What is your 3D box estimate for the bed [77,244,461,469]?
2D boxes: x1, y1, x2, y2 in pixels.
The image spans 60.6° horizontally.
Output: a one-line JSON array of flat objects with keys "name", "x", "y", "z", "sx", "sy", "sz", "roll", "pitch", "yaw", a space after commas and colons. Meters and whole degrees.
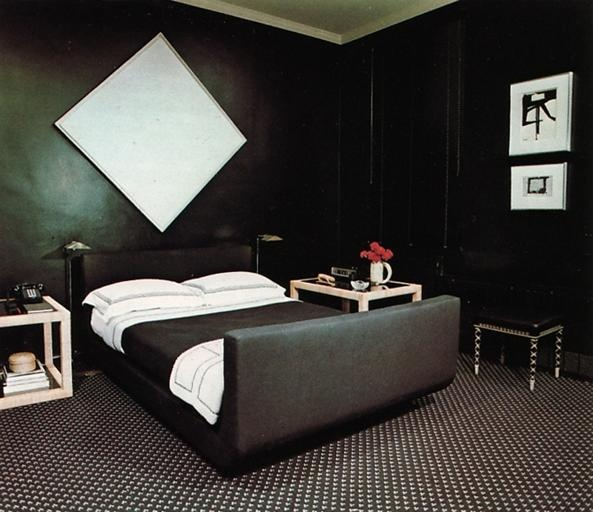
[{"name": "bed", "x": -0.092, "y": 0.642, "z": 3.653, "sx": 1.851, "sy": 0.798, "sz": 1.795, "roll": -8, "pitch": 12, "yaw": -41}]

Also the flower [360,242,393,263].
[{"name": "flower", "x": 0.806, "y": 0.015, "z": 4.964, "sx": 0.252, "sy": 0.157, "sz": 0.259, "roll": 20, "pitch": 35, "yaw": 38}]

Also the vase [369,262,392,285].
[{"name": "vase", "x": 0.809, "y": 0.158, "z": 5.065, "sx": 0.257, "sy": 0.301, "sz": 0.164, "roll": 0, "pitch": 5, "yaw": -6}]

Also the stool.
[{"name": "stool", "x": 1.816, "y": 0.632, "z": 4.190, "sx": 0.542, "sy": 0.663, "sz": 0.683, "roll": -2, "pitch": 4, "yaw": -40}]

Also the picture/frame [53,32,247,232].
[{"name": "picture/frame", "x": -1.300, "y": -1.120, "z": 4.645, "sx": 1.549, "sy": 1.785, "sz": 0.110, "roll": -5, "pitch": 10, "yaw": -30}]
